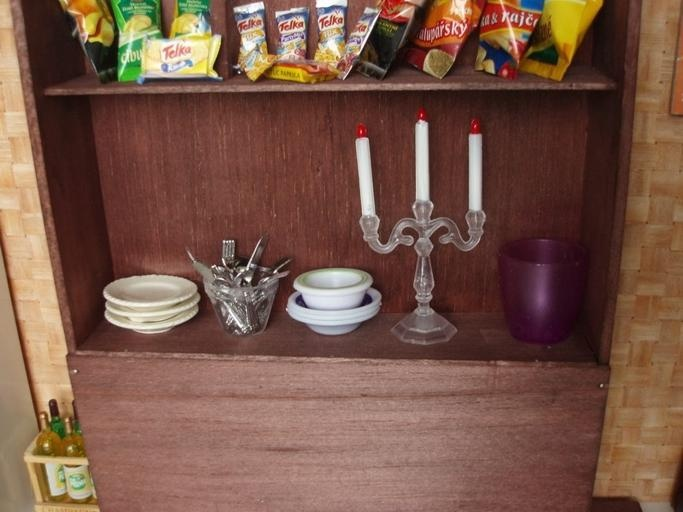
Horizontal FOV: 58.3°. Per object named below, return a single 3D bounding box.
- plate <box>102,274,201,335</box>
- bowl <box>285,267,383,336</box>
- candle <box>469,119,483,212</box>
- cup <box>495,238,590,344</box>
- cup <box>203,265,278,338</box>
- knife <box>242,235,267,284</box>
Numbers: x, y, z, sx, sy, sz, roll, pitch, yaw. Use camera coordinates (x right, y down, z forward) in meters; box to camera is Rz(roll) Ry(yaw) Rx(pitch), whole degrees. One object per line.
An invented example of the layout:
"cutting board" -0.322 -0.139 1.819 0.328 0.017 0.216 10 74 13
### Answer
"plate" -0.519 0.128 1.704 0.188 0.078 0.185 5 19 6
"bowl" -0.035 0.114 1.667 0.207 0.098 0.204 -2 16 1
"candle" 0.336 -0.224 1.535 0.029 0.225 0.037 -3 18 -2
"cup" 0.519 0.092 1.708 0.278 0.280 0.254 -4 20 1
"cup" -0.267 0.114 1.679 0.176 0.137 0.179 -2 8 0
"knife" -0.242 0.012 1.720 0.038 0.171 0.026 23 -14 -32
